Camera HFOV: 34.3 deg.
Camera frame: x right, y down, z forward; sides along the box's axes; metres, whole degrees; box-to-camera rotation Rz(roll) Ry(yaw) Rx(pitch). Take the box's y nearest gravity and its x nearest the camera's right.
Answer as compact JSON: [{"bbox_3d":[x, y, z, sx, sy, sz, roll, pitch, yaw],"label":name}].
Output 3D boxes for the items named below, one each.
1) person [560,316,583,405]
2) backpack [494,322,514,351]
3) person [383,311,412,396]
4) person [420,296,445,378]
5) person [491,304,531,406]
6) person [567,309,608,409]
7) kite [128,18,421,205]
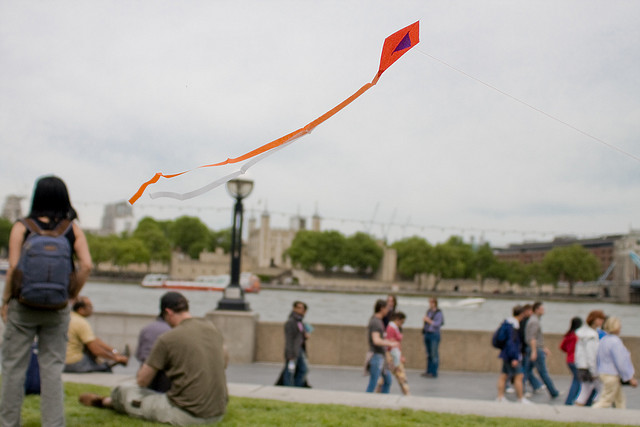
[{"bbox_3d":[5.524,3.217,22.308,0.590,1.946,0.722,-7,10,-29],"label":"person"},{"bbox_3d":[3.944,2.633,21.989,0.418,0.628,0.335,5,-37,17],"label":"backpack"},{"bbox_3d":[1.645,3.033,22.253,0.581,1.812,0.660,0,1,-4],"label":"person"},{"bbox_3d":[2.628,2.922,24.413,0.533,1.842,0.493,0,1,1],"label":"person"},{"bbox_3d":[4.133,3.036,22.079,0.734,2.166,0.865,-4,7,-43],"label":"person"},{"bbox_3d":[5.581,3.045,21.755,0.722,1.985,0.628,-1,-3,20],"label":"person"},{"bbox_3d":[-0.448,-1.514,17.158,5.595,1.070,1.017,-30,-30,13],"label":"kite"}]
